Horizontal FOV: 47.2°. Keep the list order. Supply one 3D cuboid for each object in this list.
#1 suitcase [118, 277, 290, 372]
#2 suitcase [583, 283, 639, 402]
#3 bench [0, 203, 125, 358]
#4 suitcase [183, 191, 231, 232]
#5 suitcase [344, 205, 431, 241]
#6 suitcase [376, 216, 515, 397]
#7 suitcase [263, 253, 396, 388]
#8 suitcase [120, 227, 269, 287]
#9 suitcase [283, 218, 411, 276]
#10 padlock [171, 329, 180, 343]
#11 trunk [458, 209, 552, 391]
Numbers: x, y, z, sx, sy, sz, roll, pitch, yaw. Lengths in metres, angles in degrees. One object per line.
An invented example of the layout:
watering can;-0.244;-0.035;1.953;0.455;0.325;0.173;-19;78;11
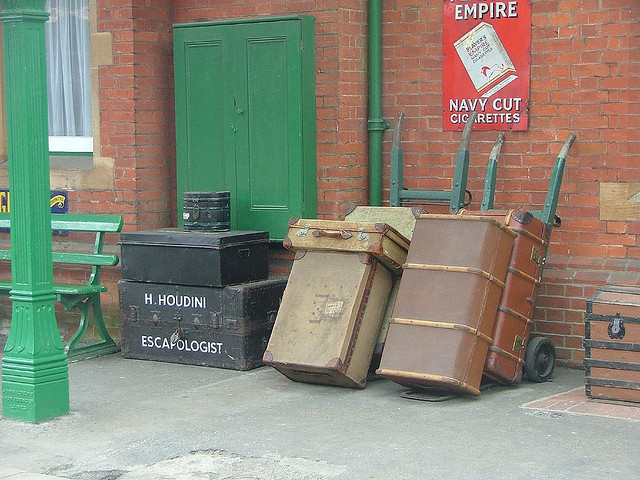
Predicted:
suitcase;-1.181;0.829;7.799;1.698;0.781;1.149;-1;4;28
suitcase;2.362;0.880;6.381;0.738;1.035;1.181;1;-1;23
bench;-2.465;0.397;7.199;1.790;1.021;0.624;2;2;28
suitcase;-1.185;-0.301;7.644;0.540;0.376;0.310;1;9;24
suitcase;0.670;-0.210;7.162;0.718;0.331;0.591;5;11;31
suitcase;1.137;0.583;6.347;1.024;1.410;0.942;12;-11;16
suitcase;0.120;0.727;6.412;0.962;1.396;0.527;10;-19;38
suitcase;-1.162;0.169;7.989;1.609;0.597;1.222;0;0;22
suitcase;0.349;0.095;6.815;0.903;0.247;0.926;3;-17;33
padlock;-1.459;0.964;7.318;0.080;0.105;0.030;5;-13;20
trunk;1.762;0.491;6.685;0.559;1.463;0.884;11;6;-5
